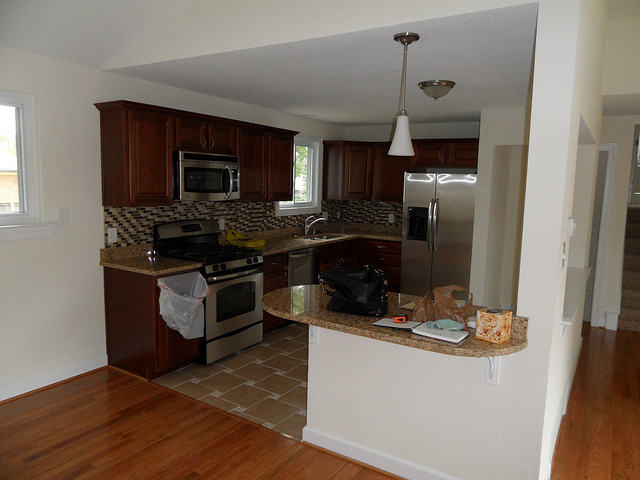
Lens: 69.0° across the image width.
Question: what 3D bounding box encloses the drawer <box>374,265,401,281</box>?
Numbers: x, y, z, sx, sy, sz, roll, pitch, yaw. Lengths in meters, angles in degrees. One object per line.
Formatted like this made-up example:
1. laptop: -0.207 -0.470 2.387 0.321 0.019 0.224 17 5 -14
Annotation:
1. drawer: 0.974 0.465 6.708 0.457 0.196 0.108 13 18 36

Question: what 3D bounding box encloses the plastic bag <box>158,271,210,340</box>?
1. plastic bag: -1.295 0.648 4.411 0.388 0.562 0.453 26 21 32

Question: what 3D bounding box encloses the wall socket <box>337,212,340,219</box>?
1. wall socket: 0.300 -0.405 7.622 0.021 0.105 0.062 10 17 27

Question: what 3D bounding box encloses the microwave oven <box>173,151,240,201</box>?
1. microwave oven: -1.246 -0.673 4.994 0.413 0.467 0.747 11 11 42

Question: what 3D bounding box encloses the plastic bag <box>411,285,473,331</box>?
1. plastic bag: 0.789 0.437 3.079 0.274 0.174 0.360 -11 1 -11

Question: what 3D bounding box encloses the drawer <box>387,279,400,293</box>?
1. drawer: 1.021 0.662 6.680 0.154 0.185 0.220 -10 19 -38

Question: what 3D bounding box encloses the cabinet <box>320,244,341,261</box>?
1. cabinet: 0.143 0.154 6.312 0.175 0.203 0.332 12 16 43

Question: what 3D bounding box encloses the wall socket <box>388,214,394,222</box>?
1. wall socket: 1.110 -0.347 7.291 0.100 0.126 0.023 13 19 36

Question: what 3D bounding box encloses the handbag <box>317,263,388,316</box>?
1. handbag: 0.251 0.336 3.308 0.502 0.328 0.267 -1 15 26

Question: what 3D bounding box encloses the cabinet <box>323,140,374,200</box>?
1. cabinet: 0.437 -1.074 7.246 0.678 0.872 0.776 10 13 40

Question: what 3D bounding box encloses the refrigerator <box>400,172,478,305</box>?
1. refrigerator: 1.668 -0.032 6.462 0.990 1.723 0.718 11 21 33

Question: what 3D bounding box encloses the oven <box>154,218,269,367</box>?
1. oven: -1.071 0.493 5.085 0.809 1.356 1.084 14 19 38
